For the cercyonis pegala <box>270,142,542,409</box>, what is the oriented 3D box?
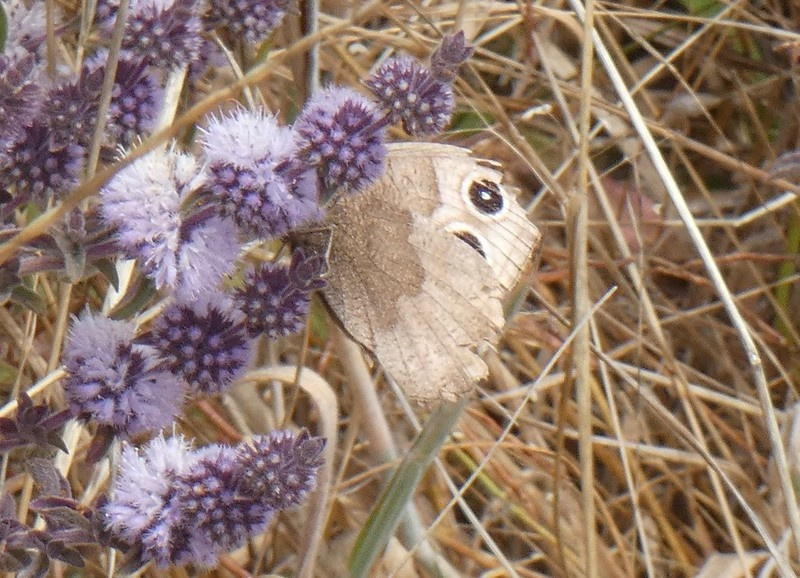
[{"bbox_3d":[0.063,-0.119,3.715,0.703,0.706,0.983,-8,42,3],"label":"cercyonis pegala"}]
